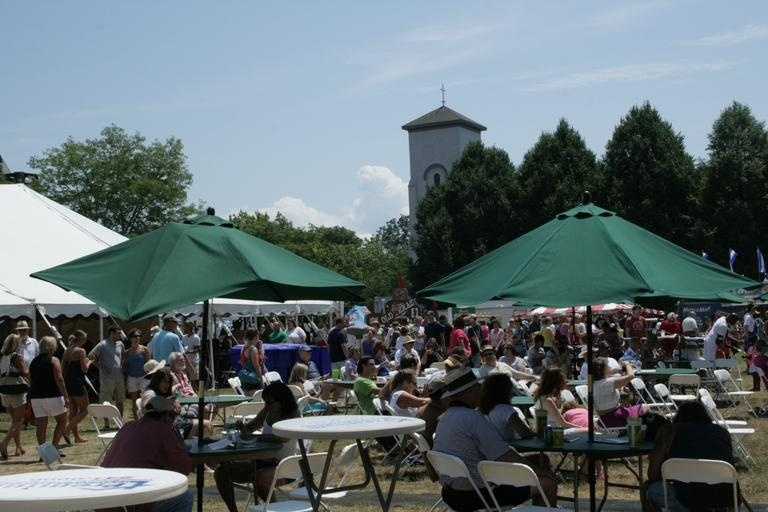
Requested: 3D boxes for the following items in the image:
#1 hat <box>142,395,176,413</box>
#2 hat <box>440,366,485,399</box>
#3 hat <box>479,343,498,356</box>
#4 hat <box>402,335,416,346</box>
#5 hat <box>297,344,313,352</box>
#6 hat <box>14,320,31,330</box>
[{"bbox_3d":[-3.867,2.585,18.928,0.511,0.286,0.360,4,1,-41],"label":"hat"},{"bbox_3d":[1.350,2.190,19.220,0.576,0.234,0.532,-27,3,-1],"label":"hat"},{"bbox_3d":[2.404,2.150,24.949,0.530,0.180,0.565,-2,-9,14],"label":"hat"},{"bbox_3d":[0.636,2.239,28.971,0.384,0.141,0.407,-8,-7,-4],"label":"hat"},{"bbox_3d":[-1.958,2.335,27.305,0.294,0.183,0.462,1,0,42],"label":"hat"},{"bbox_3d":[-9.205,1.740,27.596,0.441,0.195,0.467,1,-9,-22],"label":"hat"}]
